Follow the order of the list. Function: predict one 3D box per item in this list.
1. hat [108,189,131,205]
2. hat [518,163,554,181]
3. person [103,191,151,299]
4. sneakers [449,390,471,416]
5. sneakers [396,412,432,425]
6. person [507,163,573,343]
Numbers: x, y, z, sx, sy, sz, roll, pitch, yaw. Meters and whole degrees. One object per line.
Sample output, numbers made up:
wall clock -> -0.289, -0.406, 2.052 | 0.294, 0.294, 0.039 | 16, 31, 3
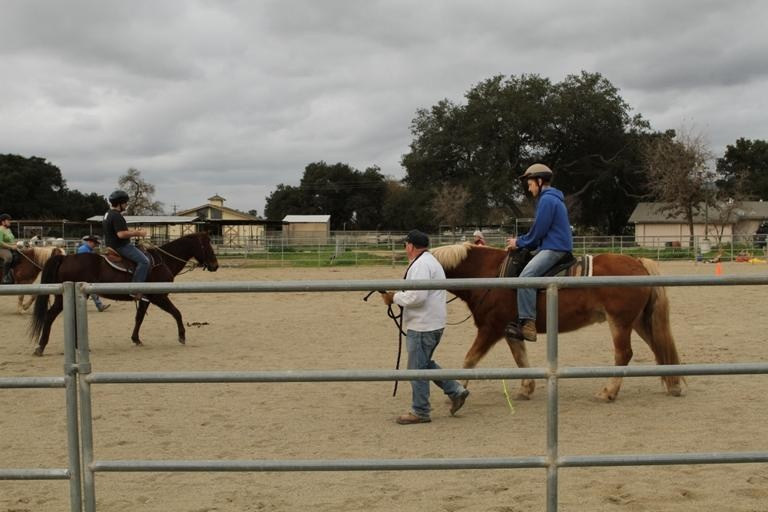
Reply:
hat -> -5.396, -1.191, 22.423 | 0.315, 0.295, 0.608 | 0, 1, -10
hat -> 2.734, -1.586, 19.783 | 0.560, 0.279, 0.398 | 4, -2, 9
person -> -5.284, -0.244, 22.873 | 0.925, 2.235, 0.912 | -3, 3, 9
sneakers -> 1.282, 2.502, 19.074 | 0.261, 0.208, 0.609 | 30, -35, 9
sneakers -> 0.511, 2.787, 18.842 | 0.415, 0.163, 0.236 | 3, -5, 0
person -> 2.727, -0.061, 19.438 | 0.919, 3.185, 1.277 | 1, 1, 27
